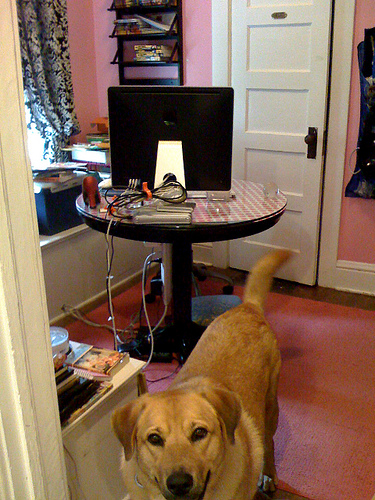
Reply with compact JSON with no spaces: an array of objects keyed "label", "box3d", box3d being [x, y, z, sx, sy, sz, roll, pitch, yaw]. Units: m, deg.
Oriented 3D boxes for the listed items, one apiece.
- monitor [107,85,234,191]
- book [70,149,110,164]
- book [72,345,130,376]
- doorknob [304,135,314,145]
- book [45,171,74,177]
[{"label":"monitor","box3d":[-0.073,-0.541,1.900,0.457,0.435,0.154,1,12,3]},{"label":"book","box3d":[-0.764,-0.741,3.155,0.369,0.101,0.022,10,21,25]},{"label":"book","box3d":[-0.260,0.333,1.223,0.079,0.021,0.082,9,21,23]},{"label":"doorknob","box3d":[0.899,-0.818,2.979,0.074,0.067,0.051,8,20,22]},{"label":"book","box3d":[-0.864,-0.514,2.723,0.183,0.025,0.063,-9,22,-24]}]
